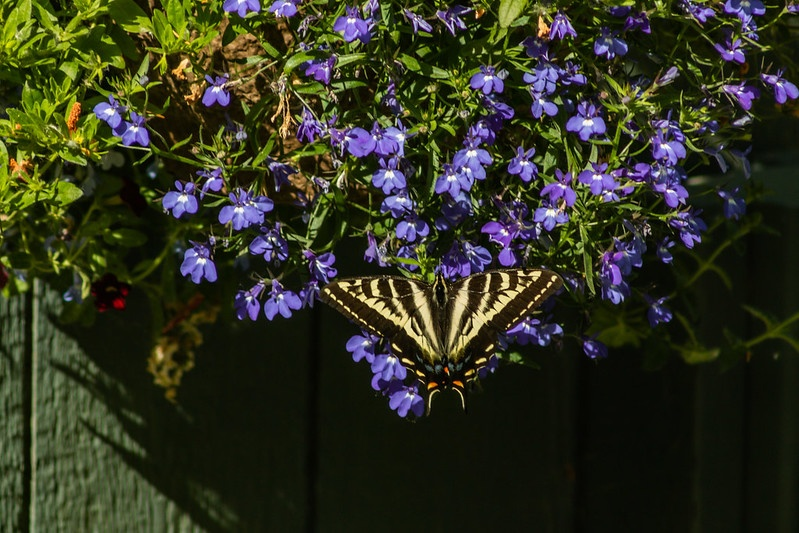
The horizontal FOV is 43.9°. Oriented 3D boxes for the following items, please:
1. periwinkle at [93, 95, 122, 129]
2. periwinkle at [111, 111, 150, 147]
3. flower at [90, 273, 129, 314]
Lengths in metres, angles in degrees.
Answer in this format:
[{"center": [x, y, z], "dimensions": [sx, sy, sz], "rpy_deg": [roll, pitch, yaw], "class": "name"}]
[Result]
[{"center": [-0.699, -0.369, 2.366], "dimensions": [0.069, 0.078, 0.043], "rpy_deg": [2, 11, 5], "class": "periwinkle"}, {"center": [-0.633, -0.320, 2.399], "dimensions": [0.067, 0.089, 0.023], "rpy_deg": [-4, -8, 4], "class": "periwinkle"}, {"center": [-0.804, 0.057, 2.809], "dimensions": [0.103, 0.048, 0.123], "rpy_deg": [-5, 19, -23], "class": "flower"}]
